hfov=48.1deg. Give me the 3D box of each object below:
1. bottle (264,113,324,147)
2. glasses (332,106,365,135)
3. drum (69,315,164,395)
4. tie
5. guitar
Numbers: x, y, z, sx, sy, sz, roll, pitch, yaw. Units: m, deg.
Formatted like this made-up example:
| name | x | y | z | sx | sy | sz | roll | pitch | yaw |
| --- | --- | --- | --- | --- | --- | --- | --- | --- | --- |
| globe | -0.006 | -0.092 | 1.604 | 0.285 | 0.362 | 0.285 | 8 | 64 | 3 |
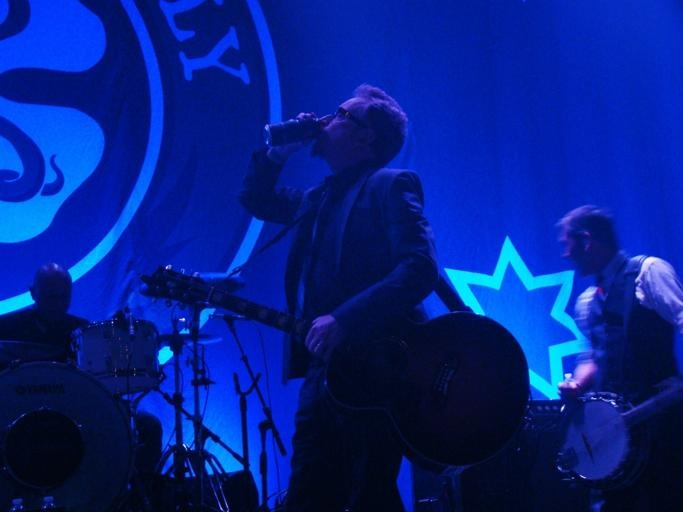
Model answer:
| name | x | y | z | sx | sy | sz | roll | pitch | yaw |
| --- | --- | --- | --- | --- | --- | --- | --- | --- | --- |
| bottle | -0.320 | -0.845 | 5.128 | 0.352 | 0.139 | 0.187 | -6 | -42 | -26 |
| glasses | 0.044 | -0.891 | 5.063 | 0.160 | 0.049 | 0.157 | 24 | 12 | -44 |
| drum | -1.638 | 0.711 | 5.844 | 0.558 | 0.420 | 0.589 | -3 | -18 | -1 |
| tie | -0.117 | 0.021 | 4.815 | 0.103 | 0.747 | 0.271 | 8 | 0 | -41 |
| guitar | -0.142 | 0.651 | 5.011 | 2.575 | 1.088 | 0.383 | 14 | -6 | 3 |
